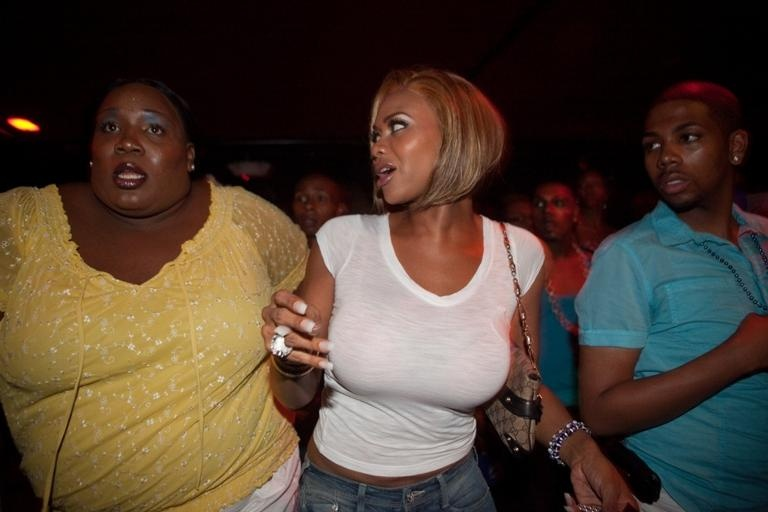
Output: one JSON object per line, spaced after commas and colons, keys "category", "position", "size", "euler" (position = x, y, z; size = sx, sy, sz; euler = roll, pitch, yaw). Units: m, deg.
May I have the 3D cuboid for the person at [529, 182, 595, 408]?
{"category": "person", "position": [1.388, 0.329, 4.338], "size": [0.509, 1.218, 1.540], "euler": [6, 50, 13]}

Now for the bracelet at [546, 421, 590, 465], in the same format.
{"category": "bracelet", "position": [1.059, 1.087, 3.249], "size": [0.213, 0.268, 0.090], "euler": [48, 16, 28]}

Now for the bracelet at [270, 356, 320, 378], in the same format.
{"category": "bracelet", "position": [-0.526, 0.621, 3.098], "size": [0.159, 0.060, 0.150], "euler": [15, -2, -9]}
